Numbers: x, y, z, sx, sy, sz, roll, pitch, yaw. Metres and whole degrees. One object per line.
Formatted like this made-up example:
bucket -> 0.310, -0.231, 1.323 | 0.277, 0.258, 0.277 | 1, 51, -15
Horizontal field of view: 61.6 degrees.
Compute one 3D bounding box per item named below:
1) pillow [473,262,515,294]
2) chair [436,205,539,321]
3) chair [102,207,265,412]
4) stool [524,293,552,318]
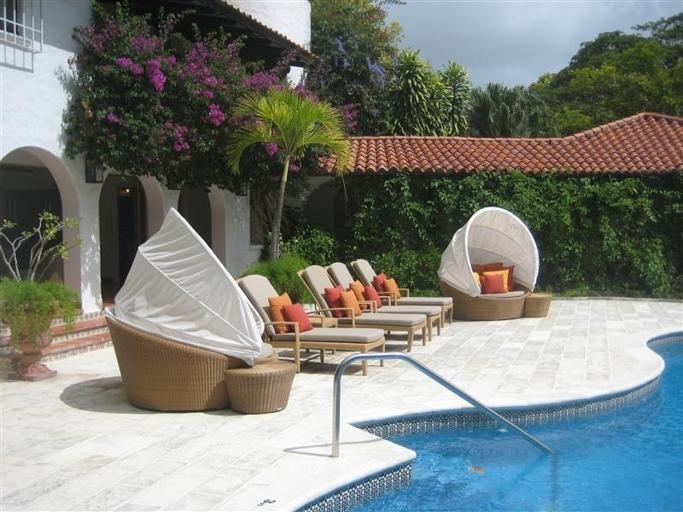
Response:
pillow -> 3.364, 0.498, 12.680 | 0.793, 0.585, 1.158 | 3, 6, 21
chair -> 3.183, 0.118, 13.096 | 1.456, 2.343, 1.689 | -16, 12, -30
chair -> -1.524, 0.805, 7.413 | 2.057, 2.458, 1.682 | 1, 0, 6
stool -> 4.255, 1.110, 12.499 | 0.722, 0.548, 0.415 | 0, 0, -17
